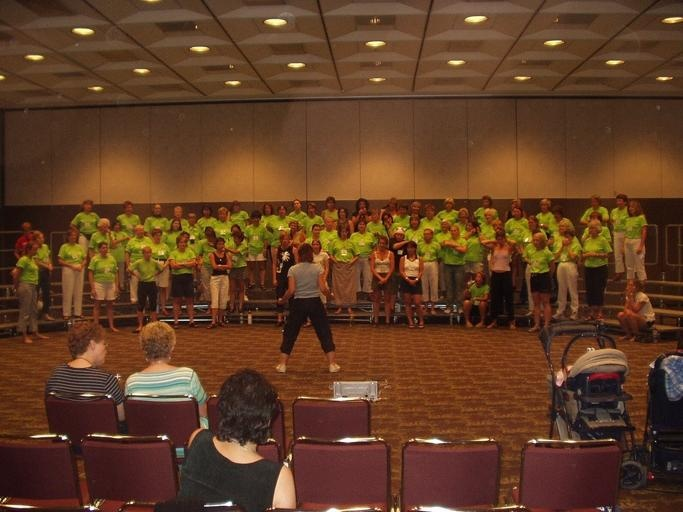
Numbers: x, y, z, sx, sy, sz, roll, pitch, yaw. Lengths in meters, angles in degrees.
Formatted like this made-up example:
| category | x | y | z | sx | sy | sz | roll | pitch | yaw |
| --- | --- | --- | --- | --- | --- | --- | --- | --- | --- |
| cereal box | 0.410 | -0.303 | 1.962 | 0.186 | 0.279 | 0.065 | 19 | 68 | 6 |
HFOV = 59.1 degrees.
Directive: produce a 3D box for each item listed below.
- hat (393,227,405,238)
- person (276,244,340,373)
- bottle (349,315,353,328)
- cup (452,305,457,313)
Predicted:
| category | x | y | z | sx | sy | sz | roll | pitch | yaw |
| --- | --- | --- | --- | --- | --- | --- | --- | --- | --- |
| hat | 1.256 | -0.523 | 12.928 | 0.212 | 0.237 | 0.339 | 1 | -4 | 1 |
| person | -0.480 | 0.758 | 8.878 | 0.947 | 1.883 | 0.594 | -1 | -4 | 23 |
| bottle | 0.232 | 1.380 | 13.029 | 0.088 | 0.239 | 0.186 | 0 | -4 | 3 |
| cup | 2.487 | 1.133 | 13.016 | 0.095 | 0.157 | 0.204 | -1 | -4 | 26 |
